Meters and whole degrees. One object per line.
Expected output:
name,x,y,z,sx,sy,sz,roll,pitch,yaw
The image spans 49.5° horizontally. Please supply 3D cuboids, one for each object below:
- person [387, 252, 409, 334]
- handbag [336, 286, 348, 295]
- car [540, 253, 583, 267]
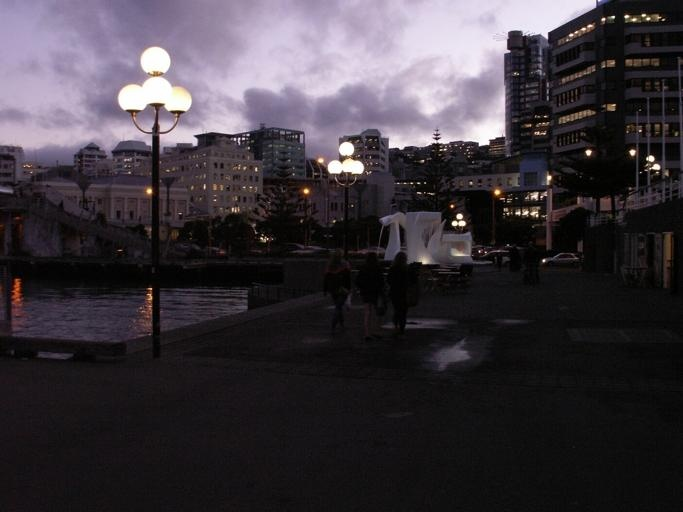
person,1.289,0.840,16.363,0.452,1.833,0.917,0,2,6
handbag,0.039,0.792,16.573,0.228,0.171,0.087,12,-1,-41
car,19.142,0.501,63.698,2.661,0.864,1.237,3,3,18
